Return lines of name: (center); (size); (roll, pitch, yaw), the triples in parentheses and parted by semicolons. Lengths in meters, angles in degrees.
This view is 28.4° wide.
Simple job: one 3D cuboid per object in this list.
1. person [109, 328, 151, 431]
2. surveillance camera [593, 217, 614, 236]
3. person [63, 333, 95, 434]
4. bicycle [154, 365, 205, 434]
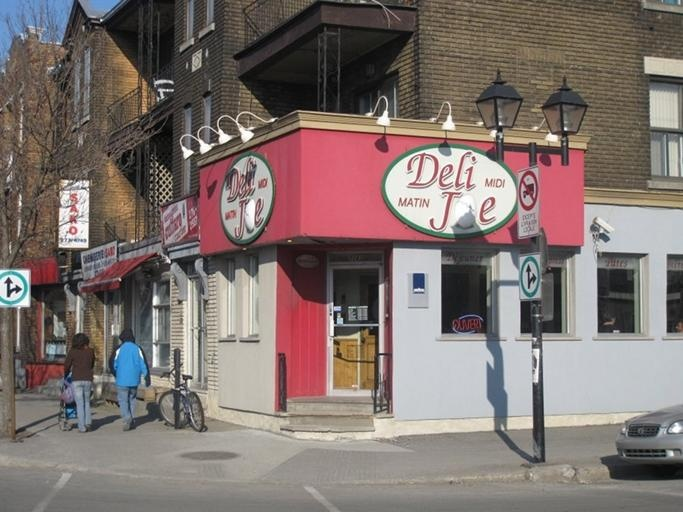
person: (-4.975, 2.909, 31.507); (0.874, 2.360, 0.974); (2, -3, -9)
surveillance camera: (6.241, -0.705, 31.875); (0.560, 0.396, 0.389); (3, -4, -11)
person: (-6.082, 2.965, 31.018); (0.605, 2.219, 0.395); (2, -3, -13)
bicycle: (-3.775, 3.608, 31.553); (0.794, 0.954, 1.585); (1, -11, -30)
